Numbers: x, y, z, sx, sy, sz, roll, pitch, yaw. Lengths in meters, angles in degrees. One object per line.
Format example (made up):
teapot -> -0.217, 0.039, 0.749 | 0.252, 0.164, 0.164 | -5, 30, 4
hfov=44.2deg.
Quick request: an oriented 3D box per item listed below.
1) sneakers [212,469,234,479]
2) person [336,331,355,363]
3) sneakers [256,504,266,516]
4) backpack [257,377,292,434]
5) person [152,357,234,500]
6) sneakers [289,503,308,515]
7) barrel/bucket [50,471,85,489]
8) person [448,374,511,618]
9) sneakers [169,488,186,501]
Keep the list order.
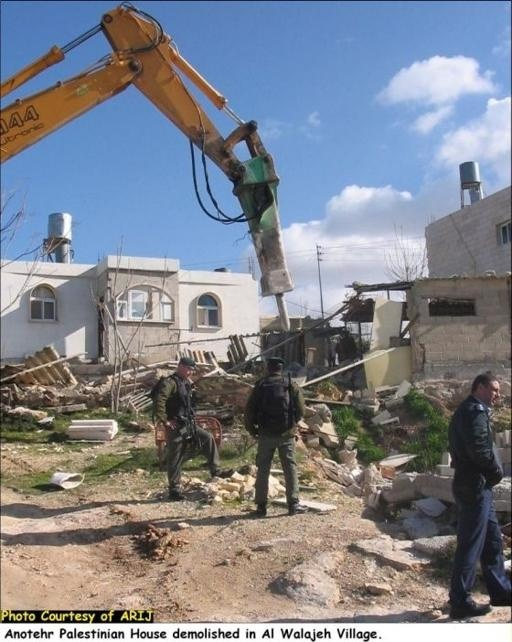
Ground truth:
sneakers -> -0.441, 1.969, 8.114 | 0.191, 0.166, 0.075 | -13, 25, -14
person -> 2.365, 0.652, 16.627 | 0.497, 0.802, 0.929 | 0, 3, 8
sneakers -> 0.051, 2.062, 6.822 | 0.084, 0.123, 0.129 | 1, -21, -1
backpack -> 0.201, 0.898, 6.889 | 0.475, 0.602, 0.377 | -1, 1, 8
person -> -0.884, 1.268, 7.570 | 0.365, 1.684, 1.028 | 2, 4, 31
sneakers -> 0.452, 2.053, 6.869 | 0.260, 0.107, 0.092 | -5, 6, -43
barrel/bucket -> -2.438, 2.049, 8.053 | 0.256, 0.096, 0.246 | 2, -4, 0
person -> 1.738, 1.338, 4.900 | 0.476, 1.791, 0.676 | 1, 4, 16
sneakers -> -0.946, 2.067, 7.541 | 0.190, 0.166, 0.100 | 0, -1, 4
